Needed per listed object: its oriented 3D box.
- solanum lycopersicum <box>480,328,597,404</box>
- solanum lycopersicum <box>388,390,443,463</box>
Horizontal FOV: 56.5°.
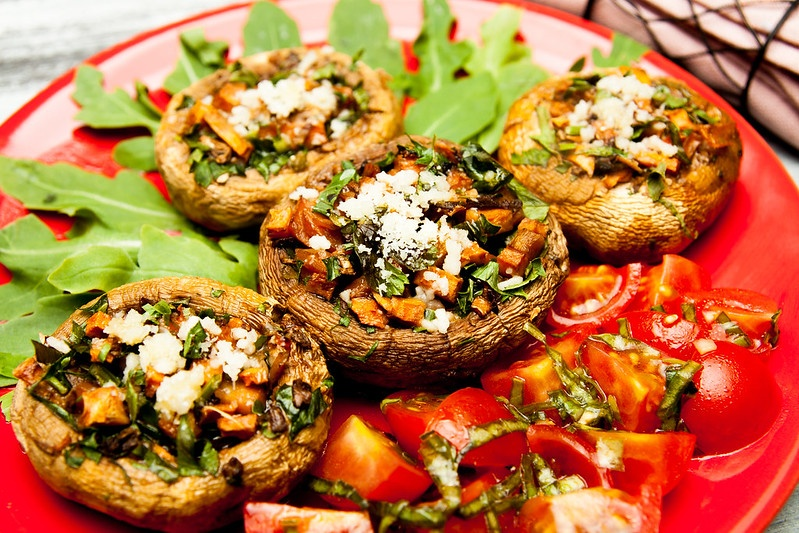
[{"bbox_3d":[0.655,0.446,3.435,0.402,0.368,0.158,-28,84,-38],"label":"solanum lycopersicum"},{"bbox_3d":[0.076,0.701,3.312,0.254,0.161,0.241,-3,19,0],"label":"solanum lycopersicum"}]
